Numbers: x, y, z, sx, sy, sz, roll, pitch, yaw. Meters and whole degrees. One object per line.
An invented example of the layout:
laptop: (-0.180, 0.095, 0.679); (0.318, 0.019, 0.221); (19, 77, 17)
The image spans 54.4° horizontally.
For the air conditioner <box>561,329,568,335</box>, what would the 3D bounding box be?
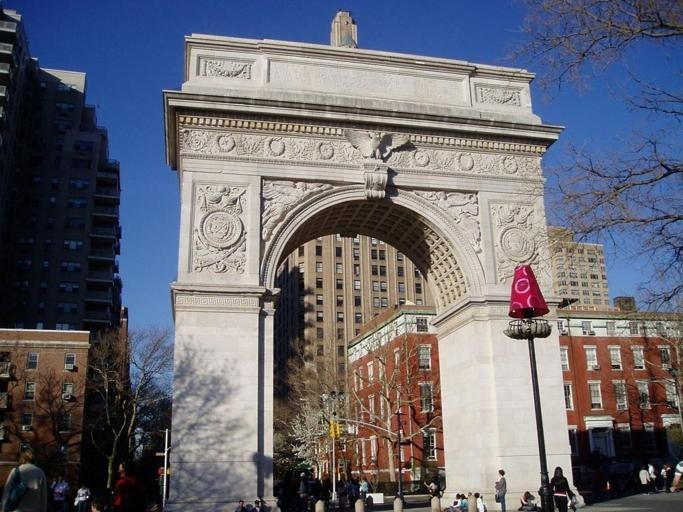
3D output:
air conditioner: (19.444, 6.676, 58.061); (0.596, 0.591, 0.323); (3, -26, -2)

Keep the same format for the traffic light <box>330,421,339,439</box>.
traffic light: (-0.418, 11.380, 43.687); (0.476, 0.866, 1.090); (1, -18, -9)

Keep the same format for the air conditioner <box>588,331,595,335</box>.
air conditioner: (22.091, 6.813, 58.706); (0.325, 0.228, 0.338); (-2, -15, 7)

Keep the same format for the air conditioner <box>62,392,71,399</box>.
air conditioner: (-23.464, 12.021, 57.040); (0.541, 0.515, 0.530); (0, -22, -9)

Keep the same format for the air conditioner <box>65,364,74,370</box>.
air conditioner: (-23.672, 9.720, 58.094); (0.768, 0.479, 0.414); (2, -27, -16)
